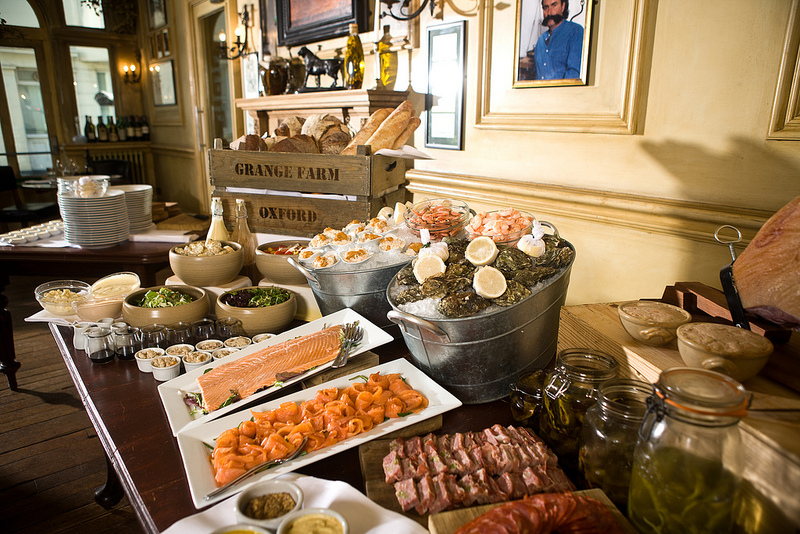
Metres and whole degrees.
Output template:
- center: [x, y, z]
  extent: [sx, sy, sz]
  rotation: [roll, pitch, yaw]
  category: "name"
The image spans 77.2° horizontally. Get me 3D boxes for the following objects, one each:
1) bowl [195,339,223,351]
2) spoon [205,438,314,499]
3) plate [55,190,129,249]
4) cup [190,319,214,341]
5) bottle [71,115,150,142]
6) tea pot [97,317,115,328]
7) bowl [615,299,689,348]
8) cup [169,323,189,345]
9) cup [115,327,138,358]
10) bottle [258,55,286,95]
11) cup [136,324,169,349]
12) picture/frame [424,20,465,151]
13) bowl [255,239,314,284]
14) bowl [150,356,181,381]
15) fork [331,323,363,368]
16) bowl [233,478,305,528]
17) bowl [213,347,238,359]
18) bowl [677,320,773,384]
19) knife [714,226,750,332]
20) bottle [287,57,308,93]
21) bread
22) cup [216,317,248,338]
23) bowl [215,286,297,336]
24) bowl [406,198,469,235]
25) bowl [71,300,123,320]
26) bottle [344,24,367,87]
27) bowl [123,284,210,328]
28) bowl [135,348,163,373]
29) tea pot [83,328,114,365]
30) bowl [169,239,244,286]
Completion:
- center: [-0.714, 0.290, 1.880]
  extent: [0.053, 0.016, 0.050]
  rotation: [1, 15, 0]
  category: "bowl"
- center: [-0.379, 0.548, 1.354]
  extent: [0.226, 0.036, 0.041]
  rotation: [-28, 31, -31]
  category: "spoon"
- center: [-1.693, -0.275, 2.810]
  extent: [0.381, 0.263, 0.313]
  rotation: [1, 15, 5]
  category: "plate"
- center: [-0.762, 0.239, 1.960]
  extent: [0.076, 0.070, 0.077]
  rotation: [2, 9, 0]
  category: "cup"
- center: [-4.594, -2.172, 7.859]
  extent: [0.607, 0.315, 0.112]
  rotation: [-6, 2, -26]
  category: "bottle"
- center: [-1.157, 0.220, 1.976]
  extent: [0.044, 0.029, 0.041]
  rotation: [4, 17, -1]
  category: "tea pot"
- center: [0.772, 0.161, 1.508]
  extent: [0.131, 0.062, 0.182]
  rotation: [4, 16, 0]
  category: "bowl"
- center: [-0.841, 0.253, 1.920]
  extent: [0.076, 0.067, 0.076]
  rotation: [-1, 6, 0]
  category: "cup"
- center: [-1.024, 0.277, 1.893]
  extent: [0.111, 0.105, 0.106]
  rotation: [2, 3, 0]
  category: "cup"
- center: [-1.061, -1.511, 4.052]
  extent: [0.268, 0.261, 0.249]
  rotation: [-1, 0, -28]
  category: "bottle"
- center: [-0.926, 0.260, 1.890]
  extent: [0.085, 0.073, 0.084]
  rotation: [3, 15, -1]
  category: "cup"
- center: [0.283, -1.066, 2.981]
  extent: [0.120, 0.700, 0.349]
  rotation: [-16, 25, -30]
  category: "picture/frame"
- center: [-0.529, -0.044, 2.230]
  extent: [0.218, 0.114, 0.219]
  rotation: [0, 13, 0]
  category: "bowl"
- center: [-0.825, 0.353, 1.768]
  extent: [0.092, 0.056, 0.086]
  rotation: [3, 12, -1]
  category: "bowl"
- center: [-0.180, 0.273, 1.763]
  extent: [0.054, 0.024, 0.170]
  rotation: [14, 32, -11]
  category: "fork"
- center: [-0.327, 0.590, 1.255]
  extent: [0.109, 0.039, 0.102]
  rotation: [-2, 20, 1]
  category: "bowl"
- center: [-0.635, 0.308, 1.824]
  extent: [0.048, 0.016, 0.045]
  rotation: [2, 12, 0]
  category: "bowl"
- center: [0.854, 0.208, 1.356]
  extent: [0.175, 0.072, 0.165]
  rotation: [-1, 12, 0]
  category: "bowl"
- center: [1.070, 0.033, 1.600]
  extent: [0.082, 0.348, 0.063]
  rotation: [-8, -6, 2]
  category: "knife"
- center: [-0.823, -1.514, 3.960]
  extent: [0.135, 0.272, 0.373]
  rotation: [-3, 20, -2]
  category: "bottle"
- center: [-0.110, -0.689, 2.487]
  extent: [0.332, 0.225, 0.541]
  rotation: [3, 20, 14]
  category: "bread"
- center: [-0.652, 0.231, 1.948]
  extent: [0.092, 0.059, 0.067]
  rotation: [4, 11, 20]
  category: "cup"
- center: [-0.594, 0.199, 2.085]
  extent: [0.331, 0.165, 0.304]
  rotation: [2, 15, -1]
  category: "bowl"
- center: [0.146, -0.212, 1.981]
  extent: [0.206, 0.071, 0.196]
  rotation: [1, -8, 0]
  category: "bowl"
- center: [-1.262, 0.155, 2.066]
  extent: [0.119, 0.049, 0.120]
  rotation: [0, 3, 0]
  category: "bowl"
- center: [-0.304, -1.418, 3.393]
  extent: [0.147, 0.405, 0.270]
  rotation: [-4, 21, -4]
  category: "bottle"
- center: [-0.972, 0.167, 2.065]
  extent: [0.321, 0.124, 0.323]
  rotation: [5, 17, -1]
  category: "bowl"
- center: [-0.913, 0.330, 1.833]
  extent: [0.088, 0.039, 0.085]
  rotation: [1, 14, 0]
  category: "bowl"
- center: [-1.129, 0.300, 1.887]
  extent: [0.138, 0.120, 0.097]
  rotation: [-2, 8, -27]
  category: "tea pot"
- center: [-0.844, -0.016, 2.212]
  extent: [0.256, 0.114, 0.228]
  rotation: [4, 15, 13]
  category: "bowl"
